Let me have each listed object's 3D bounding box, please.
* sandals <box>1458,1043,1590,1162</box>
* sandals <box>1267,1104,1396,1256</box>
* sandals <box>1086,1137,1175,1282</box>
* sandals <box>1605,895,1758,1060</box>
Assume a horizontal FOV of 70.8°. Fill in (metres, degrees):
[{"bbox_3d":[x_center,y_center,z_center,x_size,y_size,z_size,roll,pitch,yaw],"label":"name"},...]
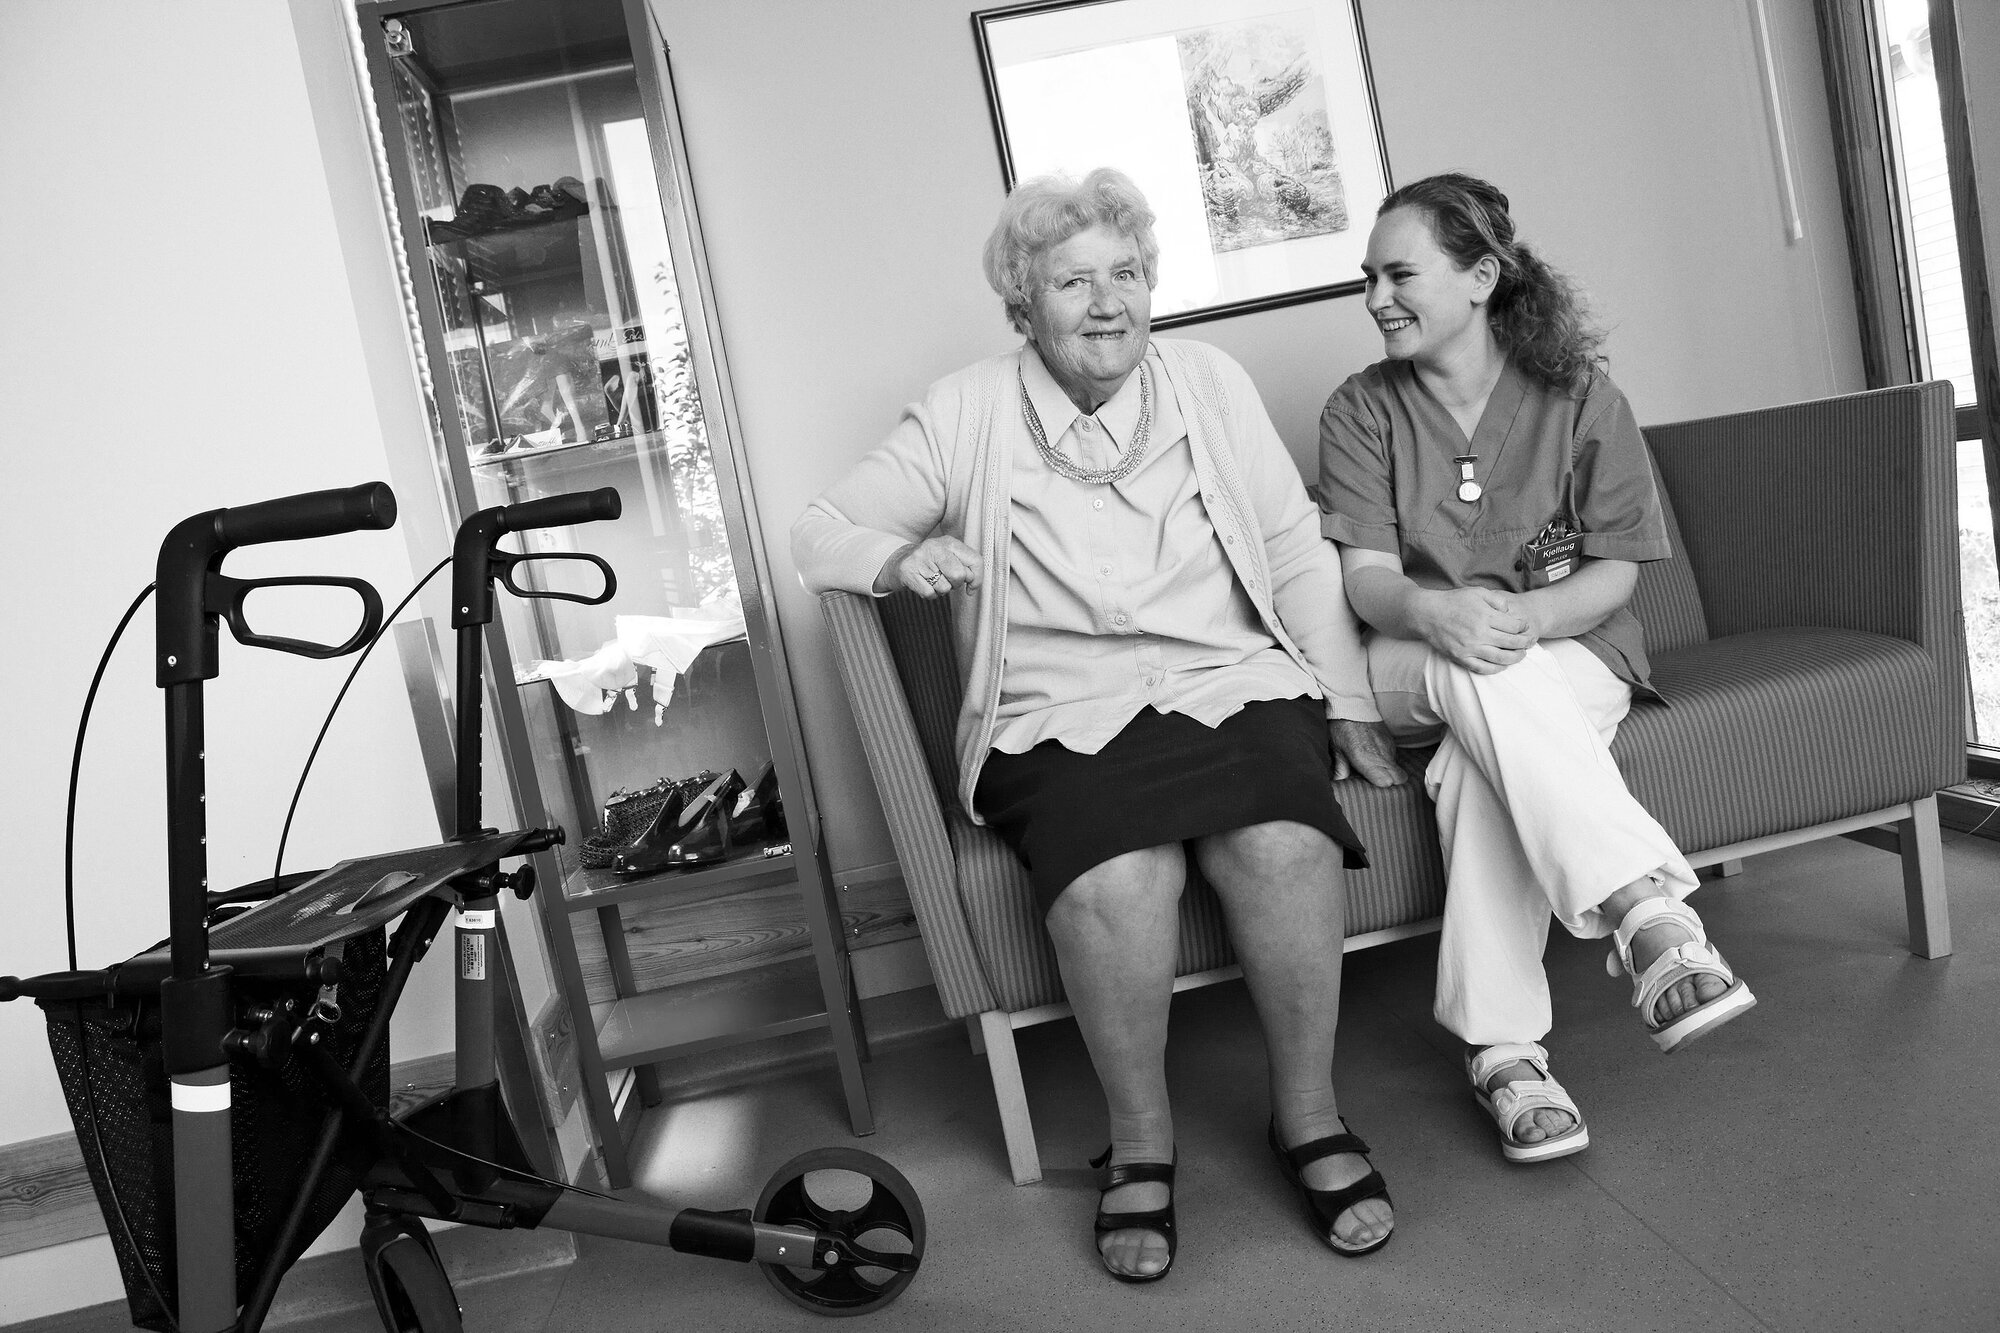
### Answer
[{"bbox_3d":[0.915,0.757,2.423,0.191,0.154,0.170,-6,16,19],"label":"sandals"},{"bbox_3d":[0.557,0.860,2.372,0.095,0.078,0.267,-16,30,-8],"label":"sandals"},{"bbox_3d":[0.231,0.922,2.360,0.084,0.103,0.256,-1,1,4],"label":"sandals"},{"bbox_3d":[1.098,0.492,2.349,0.149,0.153,0.315,-28,7,6],"label":"sandals"}]
